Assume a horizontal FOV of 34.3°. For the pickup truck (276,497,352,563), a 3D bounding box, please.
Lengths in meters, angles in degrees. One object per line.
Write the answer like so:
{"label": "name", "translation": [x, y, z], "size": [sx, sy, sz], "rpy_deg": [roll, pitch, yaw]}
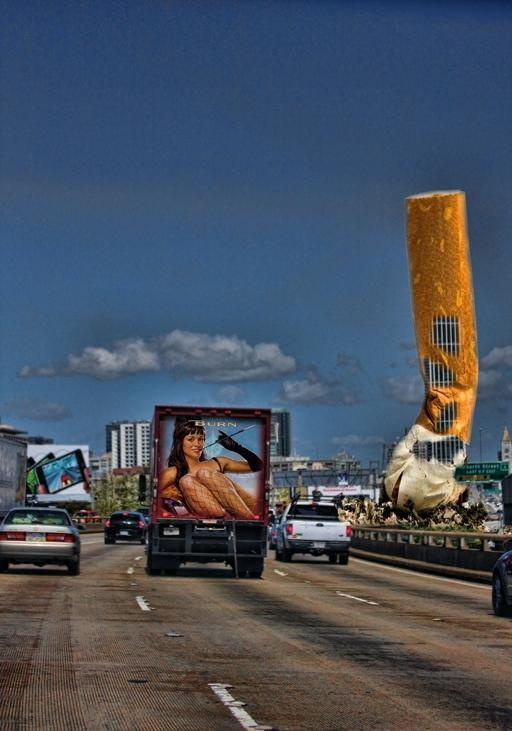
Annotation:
{"label": "pickup truck", "translation": [2.011, 5.989, 30.563], "size": [2.026, 1.333, 3.456], "rpy_deg": [1, -4, -4]}

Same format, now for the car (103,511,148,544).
{"label": "car", "translation": [-6.951, 8.825, 44.725], "size": [2.891, 1.614, 1.592], "rpy_deg": [-5, -8, 42]}

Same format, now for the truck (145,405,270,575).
{"label": "truck", "translation": [-1.160, 3.324, 23.107], "size": [3.117, 3.234, 5.462], "rpy_deg": [1, -8, -5]}
